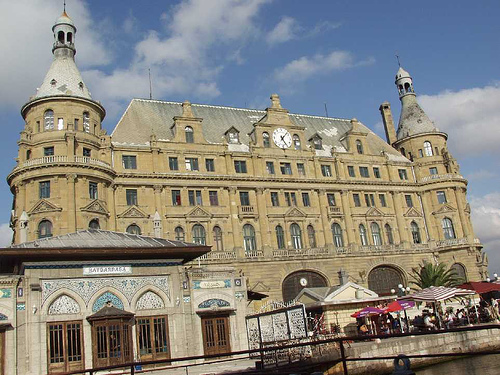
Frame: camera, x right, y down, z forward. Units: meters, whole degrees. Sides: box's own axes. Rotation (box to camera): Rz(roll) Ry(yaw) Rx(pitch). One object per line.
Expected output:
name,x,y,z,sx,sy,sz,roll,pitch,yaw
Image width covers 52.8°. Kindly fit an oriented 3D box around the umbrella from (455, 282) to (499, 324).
umbrella,18.592,9.433,40.608,3.158,2.917,3.489,-5,-8,-22
